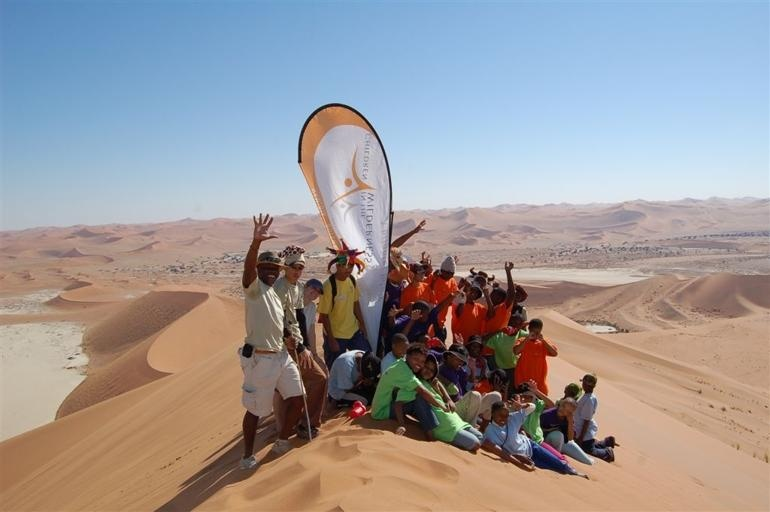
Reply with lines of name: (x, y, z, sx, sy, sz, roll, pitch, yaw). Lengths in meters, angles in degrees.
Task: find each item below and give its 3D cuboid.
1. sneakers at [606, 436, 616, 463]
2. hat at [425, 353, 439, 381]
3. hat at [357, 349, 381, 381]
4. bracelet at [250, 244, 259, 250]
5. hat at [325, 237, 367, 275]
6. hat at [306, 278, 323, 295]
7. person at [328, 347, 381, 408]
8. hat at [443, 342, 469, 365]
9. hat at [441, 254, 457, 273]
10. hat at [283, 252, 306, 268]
sneakers: (4.556, 3.944, 9.728, 0.296, 0.569, 0.197, -2, 27, 11)
hat: (0.779, 1.951, 8.250, 0.251, 0.517, 0.141, -7, 9, -35)
hat: (-0.287, 2.035, 8.785, 0.413, 0.468, 0.193, 11, -29, -29)
bracelet: (-1.930, -0.121, 7.106, 0.108, 0.084, 0.100, -1, 5, -7)
hat: (-0.744, 0.007, 9.545, 0.782, 0.346, 0.732, -6, 11, -33)
hat: (-1.265, 0.584, 8.935, 0.260, 0.161, 0.361, 17, 2, 41)
person: (-0.568, 2.311, 8.871, 0.924, 0.847, 0.686, 25, 25, -1)
hat: (1.352, 1.797, 8.723, 0.449, 0.195, 0.342, 6, -14, 29)
hat: (1.346, 0.176, 10.278, 0.383, 0.306, 0.359, 4, 6, -2)
hat: (-1.548, 0.069, 8.315, 0.366, 0.232, 0.271, -6, -3, 31)
